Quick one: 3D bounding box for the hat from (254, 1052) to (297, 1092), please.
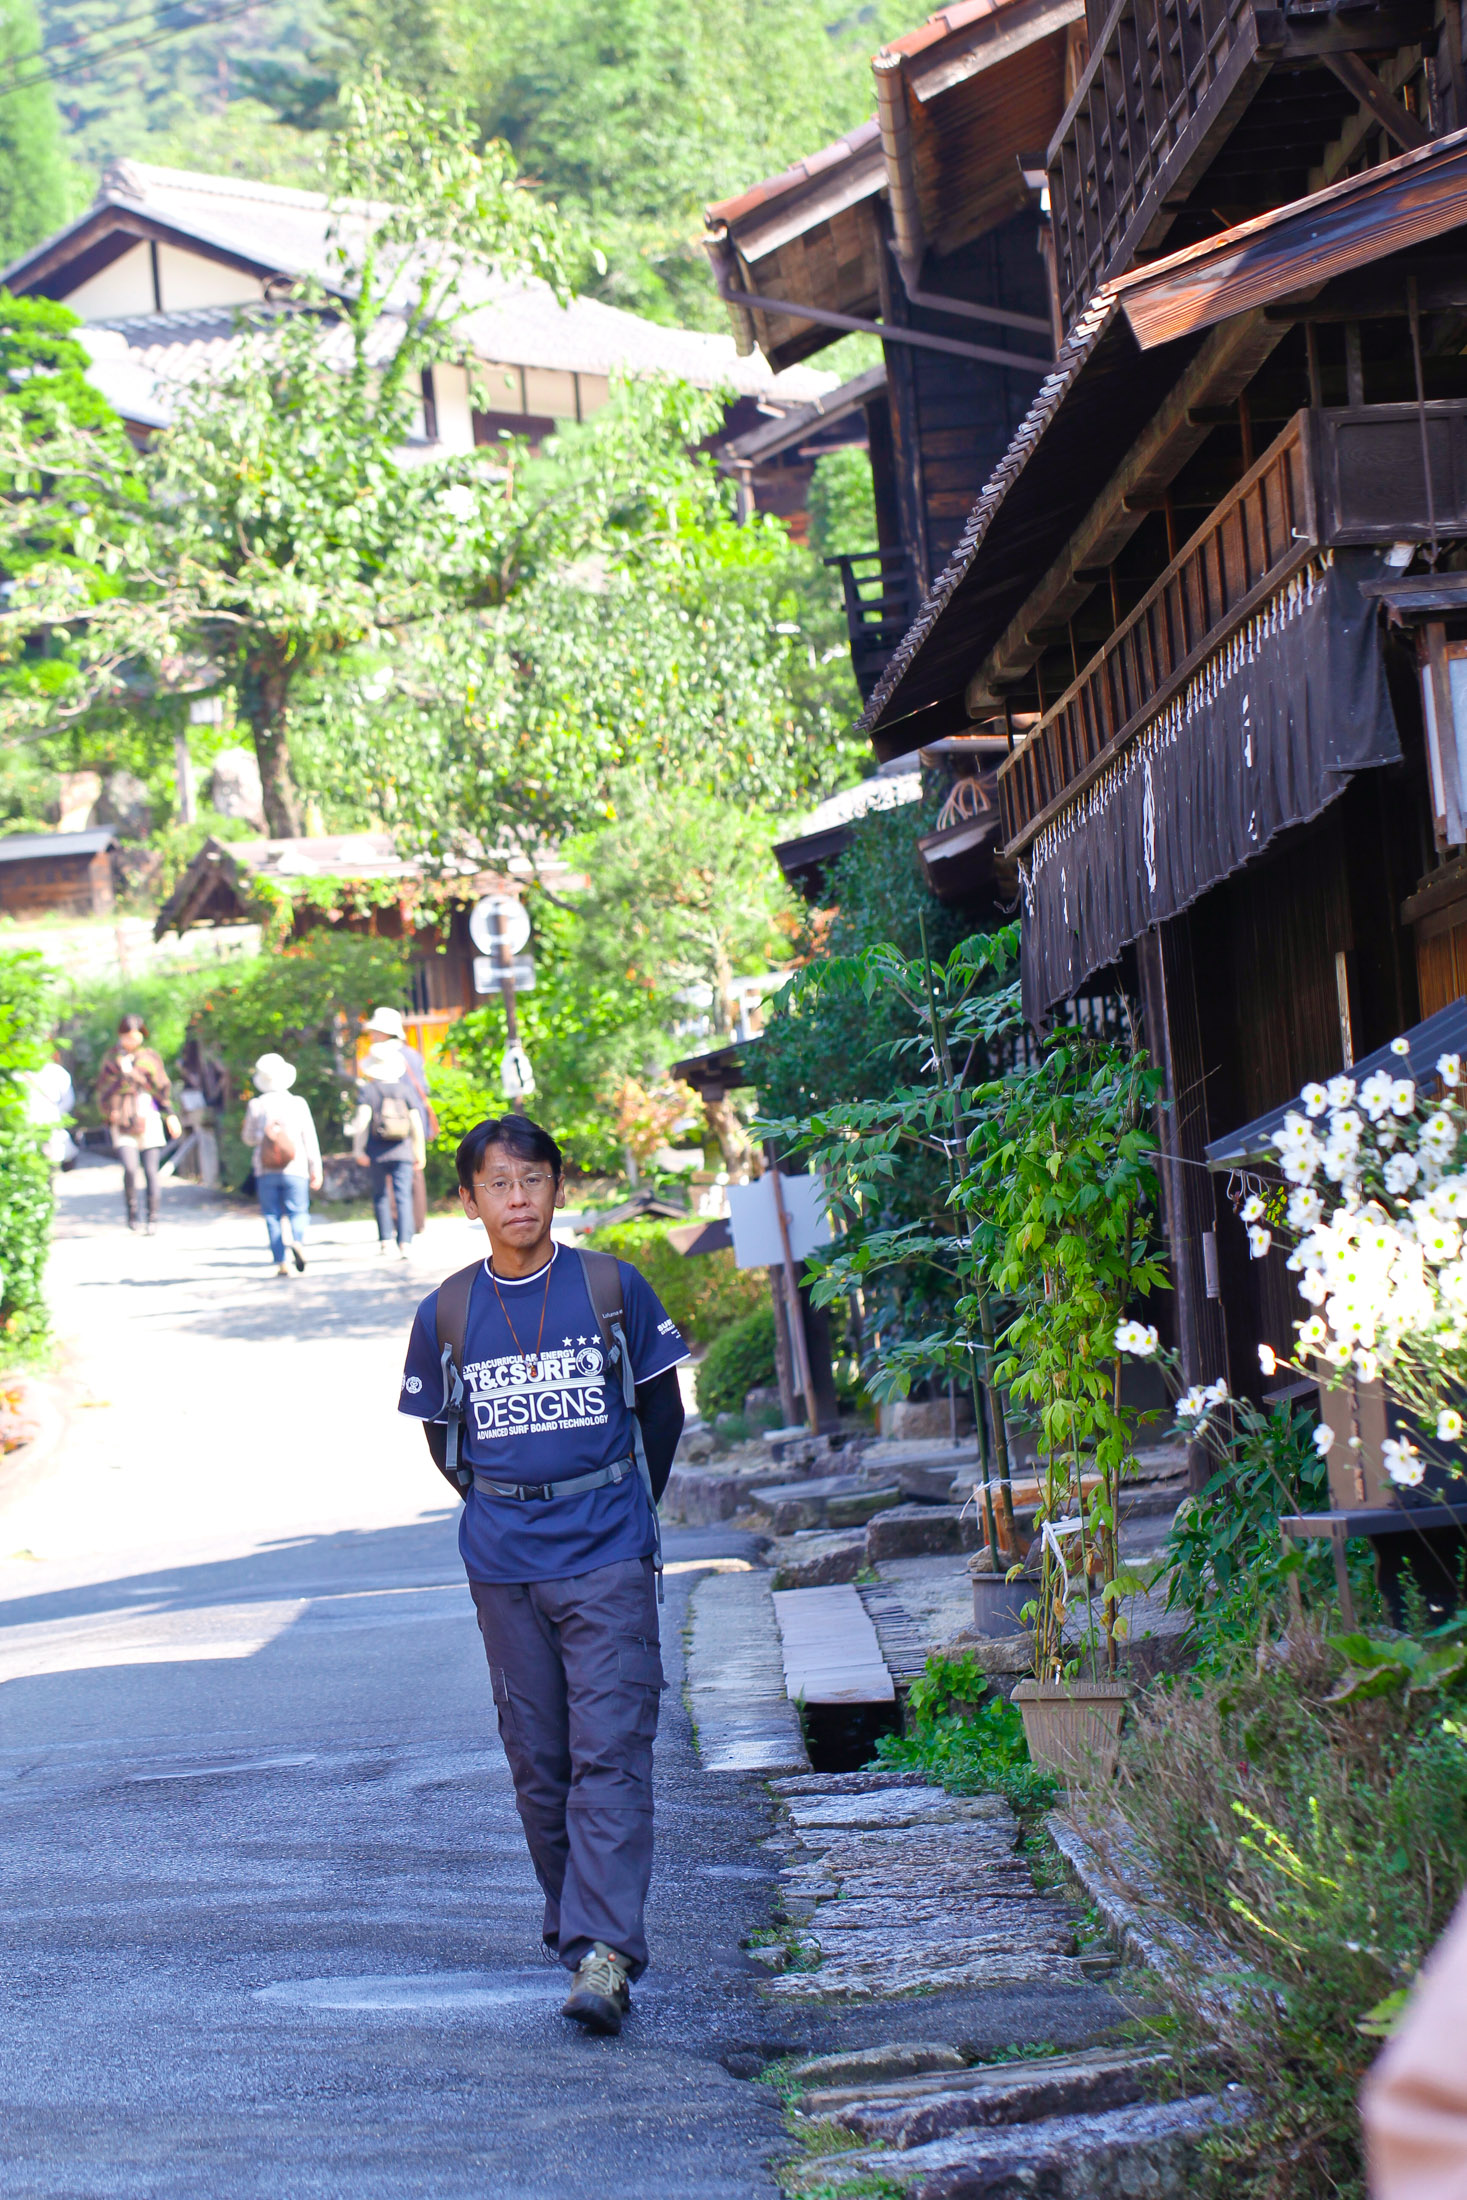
[{"bbox_3d":[-5.656,-0.352,26.414,0.412,0.441,0.566,8,34,4],"label":"hat"}]

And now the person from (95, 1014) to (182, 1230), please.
[{"bbox_3d":[-7.603,0.285,27.466,0.955,2.706,0.785,-4,0,-27],"label":"person"}]

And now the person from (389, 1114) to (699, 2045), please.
[{"bbox_3d":[-0.358,1.153,5.008,0.669,2.151,1.088,-8,10,-16],"label":"person"}]

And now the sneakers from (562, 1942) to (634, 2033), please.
[{"bbox_3d":[-0.293,1.921,4.553,0.142,0.194,0.250,-5,9,-4],"label":"sneakers"}]

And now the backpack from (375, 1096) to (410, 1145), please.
[{"bbox_3d":[-3.846,0.187,24.161,0.393,0.560,0.319,6,25,10],"label":"backpack"}]
